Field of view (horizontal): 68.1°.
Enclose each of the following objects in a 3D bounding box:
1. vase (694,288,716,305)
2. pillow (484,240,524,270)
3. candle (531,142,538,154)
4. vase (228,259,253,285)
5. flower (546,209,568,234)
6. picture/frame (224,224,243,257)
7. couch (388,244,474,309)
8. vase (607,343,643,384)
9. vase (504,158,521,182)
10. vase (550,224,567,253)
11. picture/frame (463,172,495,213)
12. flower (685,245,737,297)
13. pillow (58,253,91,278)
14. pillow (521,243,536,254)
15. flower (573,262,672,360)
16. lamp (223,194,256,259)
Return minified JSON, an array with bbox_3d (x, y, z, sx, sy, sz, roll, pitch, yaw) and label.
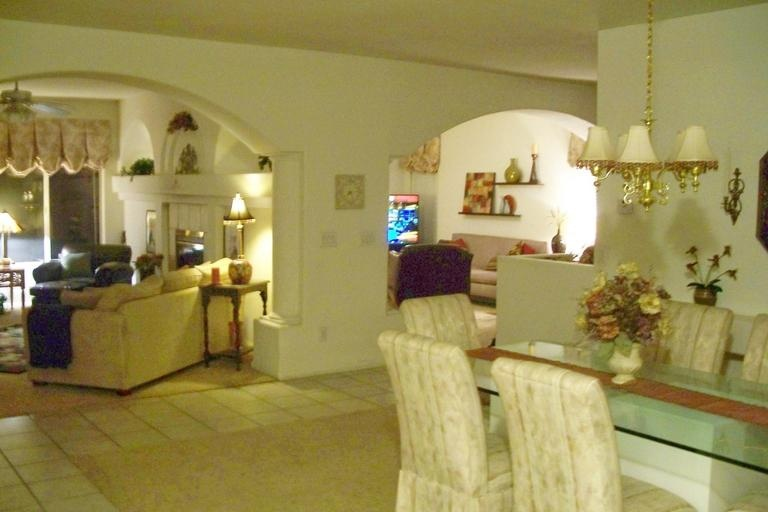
[{"bbox_3d":[2.893,0.363,5.082,0.160,0.160,0.152,3,-2,-3],"label":"vase"},{"bbox_3d":[2.141,-0.049,9.906,0.171,0.522,0.559,24,-22,-1],"label":"pillow"},{"bbox_3d":[2.651,-1.859,9.933,0.120,0.185,0.284,3,10,11],"label":"candle"},{"bbox_3d":[-1.637,0.184,6.454,0.283,0.325,0.282,0,1,8],"label":"vase"},{"bbox_3d":[3.010,-0.602,9.809,0.381,0.375,0.368,6,-7,-28],"label":"flower"},{"bbox_3d":[-1.924,-0.204,7.281,0.410,0.509,0.038,6,7,45],"label":"picture/frame"},{"bbox_3d":[0.604,0.190,7.161,0.924,0.662,0.848,-2,5,-17],"label":"couch"},{"bbox_3d":[1.511,0.669,3.505,0.195,0.217,0.198,4,-9,42],"label":"vase"},{"bbox_3d":[2.335,-1.523,10.231,0.274,0.453,0.232,8,13,35],"label":"vase"},{"bbox_3d":[2.952,-0.265,9.533,0.243,0.414,0.551,4,11,17],"label":"vase"},{"bbox_3d":[1.832,-1.186,10.739,0.103,0.882,0.770,0,6,-43],"label":"picture/frame"},{"bbox_3d":[3.034,0.152,5.348,0.451,0.410,0.435,12,-7,-6],"label":"flower"},{"bbox_3d":[-5.049,0.165,9.247,0.356,0.330,0.124,-9,-13,-11],"label":"pillow"},{"bbox_3d":[2.496,-0.127,9.723,0.157,0.131,0.201,3,6,-36],"label":"pillow"},{"bbox_3d":[1.414,0.289,3.685,0.609,0.649,0.596,-3,12,-2],"label":"flower"},{"bbox_3d":[-1.758,-0.349,6.931,0.338,0.830,0.798,-2,11,-14],"label":"lamp"}]
